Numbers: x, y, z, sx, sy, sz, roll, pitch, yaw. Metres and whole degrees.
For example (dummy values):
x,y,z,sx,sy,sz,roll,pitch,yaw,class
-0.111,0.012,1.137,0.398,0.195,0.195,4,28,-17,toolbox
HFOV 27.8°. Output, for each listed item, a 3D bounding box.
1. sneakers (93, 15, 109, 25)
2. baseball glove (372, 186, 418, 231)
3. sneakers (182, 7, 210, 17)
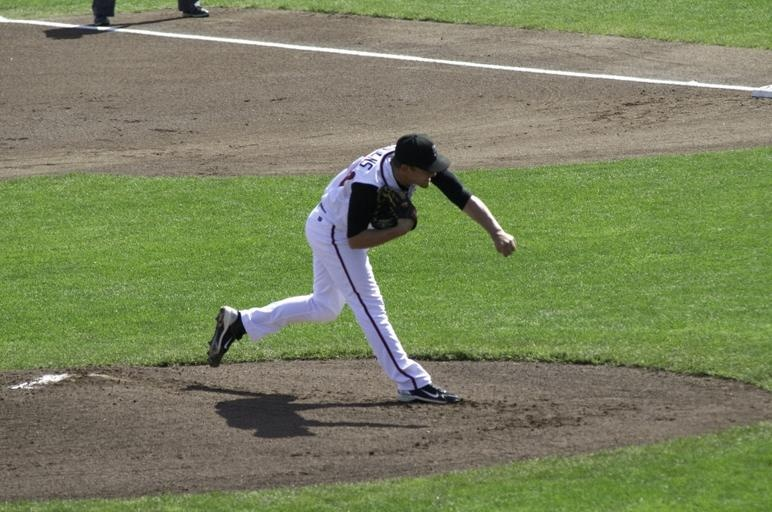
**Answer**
x,y,z,sx,sy,sz,roll,pitch,yaw,class
-6.072,-5.014,33.188,0.336,0.197,0.474,-2,12,-11,sneakers
0.077,-0.618,20.995,0.540,0.604,0.244,-1,17,3,baseball glove
-4.142,-5.357,34.171,0.649,0.221,0.210,0,12,-2,sneakers
